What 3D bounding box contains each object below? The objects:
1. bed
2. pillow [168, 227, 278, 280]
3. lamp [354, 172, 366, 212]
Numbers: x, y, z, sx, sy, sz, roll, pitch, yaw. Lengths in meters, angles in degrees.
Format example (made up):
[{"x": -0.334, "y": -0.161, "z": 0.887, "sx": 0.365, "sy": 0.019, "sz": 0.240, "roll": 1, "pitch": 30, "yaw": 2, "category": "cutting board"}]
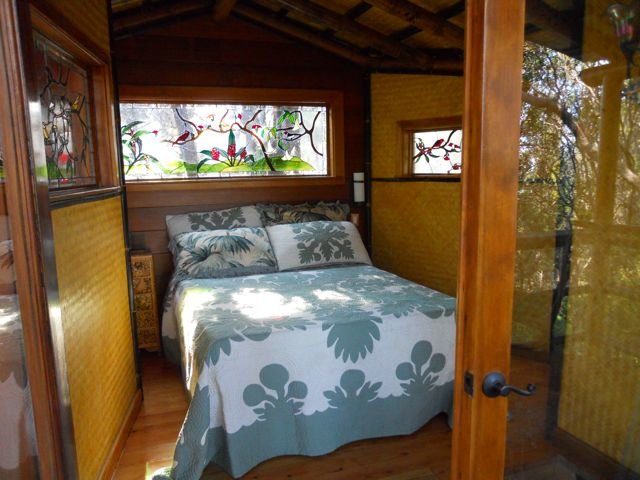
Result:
[{"x": -0.103, "y": 0.753, "z": 2.967, "sx": 1.633, "sy": 0.719, "sz": 0.959, "roll": -5, "pitch": 11, "yaw": -20, "category": "bed"}, {"x": -0.740, "y": 0.123, "z": 3.822, "sx": 0.565, "sy": 0.157, "sz": 0.451, "roll": -5, "pitch": 34, "yaw": -13, "category": "pillow"}, {"x": 0.397, "y": -0.497, "z": 4.817, "sx": 0.130, "sy": 0.352, "sz": 0.102, "roll": -2, "pitch": 11, "yaw": -2, "category": "lamp"}]
